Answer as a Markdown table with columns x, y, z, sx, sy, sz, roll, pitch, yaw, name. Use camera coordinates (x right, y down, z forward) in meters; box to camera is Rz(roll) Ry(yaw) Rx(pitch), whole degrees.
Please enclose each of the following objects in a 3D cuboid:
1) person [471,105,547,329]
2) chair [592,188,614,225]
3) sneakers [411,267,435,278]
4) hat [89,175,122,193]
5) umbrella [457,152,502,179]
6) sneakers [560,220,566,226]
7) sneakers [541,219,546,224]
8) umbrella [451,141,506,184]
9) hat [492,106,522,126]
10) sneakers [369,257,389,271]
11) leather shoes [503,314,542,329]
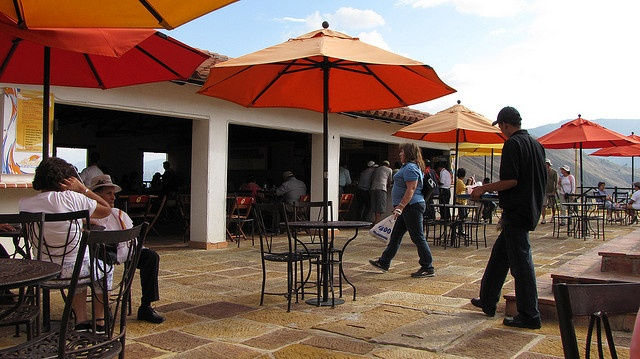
| x | y | z | sx | sy | sz | roll | pitch | yaw | name |
| --- | --- | --- | --- | --- | --- | --- | --- | --- | --- |
| 2.524 | 0.466 | 6.132 | 0.857 | 2.941 | 0.581 | -1 | -3 | 23 | person |
| 10.127 | 0.771 | 16.364 | 0.605 | 1.269 | 0.542 | -10 | -4 | 44 | chair |
| 1.808 | 1.663 | 8.198 | 0.428 | 0.175 | 0.154 | 2 | -6 | -6 | sneakers |
| -2.942 | 0.043 | 6.246 | 0.337 | 0.113 | 0.291 | -6 | -6 | 24 | hat |
| 10.966 | -0.905 | 32.094 | 3.092 | 2.304 | 2.883 | 6 | 7 | 14 | umbrella |
| 8.015 | 1.452 | 15.379 | 0.170 | 0.186 | 0.532 | -6 | -10 | 25 | sneakers |
| 7.968 | 1.509 | 16.513 | 0.177 | 0.174 | 0.460 | -5 | -11 | 25 | sneakers |
| 7.335 | -0.721 | 21.823 | 2.985 | 1.746 | 2.913 | 4 | -4 | -39 | umbrella |
| 2.532 | -0.871 | 6.305 | 0.326 | 0.174 | 0.244 | 3 | 5 | 42 | hat |
| 1.059 | 1.516 | 8.365 | 0.454 | 0.175 | 0.153 | 21 | -5 | 3 | sneakers |
| 2.618 | 1.858 | 6.080 | 0.539 | 0.180 | 0.173 | 3 | -1 | 19 | leather shoes |
